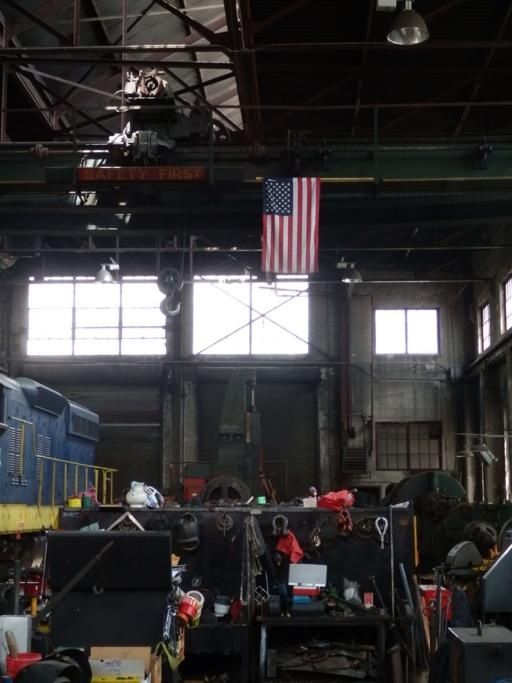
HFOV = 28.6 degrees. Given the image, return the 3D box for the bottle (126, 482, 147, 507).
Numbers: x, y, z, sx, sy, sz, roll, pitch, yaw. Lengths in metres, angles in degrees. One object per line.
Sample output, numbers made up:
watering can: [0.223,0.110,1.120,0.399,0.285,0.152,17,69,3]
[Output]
bottle: [-1.562,2.020,13.201,0.266,0.359,0.293,1,-12,-2]
